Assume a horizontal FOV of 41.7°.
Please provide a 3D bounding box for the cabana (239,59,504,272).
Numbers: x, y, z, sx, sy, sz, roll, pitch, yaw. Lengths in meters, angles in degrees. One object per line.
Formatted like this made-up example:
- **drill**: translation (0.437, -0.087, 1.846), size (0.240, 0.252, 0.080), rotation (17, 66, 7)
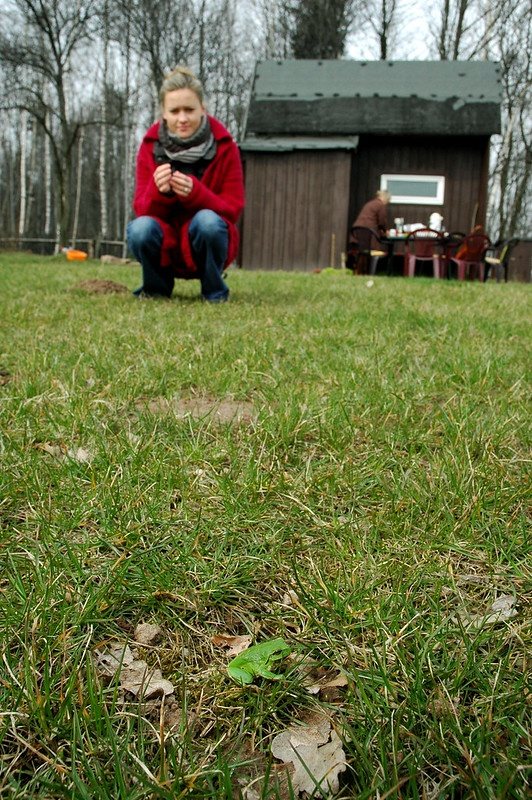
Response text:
- **cabana**: translation (2.086, -5.198, 15.178), size (5.605, 4.550, 4.602), rotation (1, 15, 4)

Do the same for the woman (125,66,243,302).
- **woman**: translation (-0.559, -1.453, 4.895), size (0.829, 1.526, 0.990), rotation (0, 13, -4)

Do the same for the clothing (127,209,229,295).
- **clothing**: translation (-0.644, -1.031, 5.086), size (0.786, 0.728, 0.608), rotation (1, -3, 7)

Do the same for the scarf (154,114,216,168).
- **scarf**: translation (-0.538, -1.743, 4.714), size (0.409, 0.309, 0.225), rotation (-1, 13, -9)

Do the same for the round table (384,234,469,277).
- **round table**: translation (2.734, -2.466, 11.866), size (1.010, 0.533, 1.032), rotation (-1, 24, 1)

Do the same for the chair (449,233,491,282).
- **chair**: translation (3.367, -2.372, 11.485), size (0.511, 0.864, 2.587), rotation (5, 13, 16)

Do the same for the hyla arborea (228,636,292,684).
- **hyla arborea**: translation (-0.010, 0.381, 1.008), size (0.085, 0.031, 0.094), rotation (2, 13, 4)

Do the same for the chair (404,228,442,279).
- **chair**: translation (2.657, -2.467, 11.763), size (0.628, 0.805, 2.191), rotation (4, 13, 13)
